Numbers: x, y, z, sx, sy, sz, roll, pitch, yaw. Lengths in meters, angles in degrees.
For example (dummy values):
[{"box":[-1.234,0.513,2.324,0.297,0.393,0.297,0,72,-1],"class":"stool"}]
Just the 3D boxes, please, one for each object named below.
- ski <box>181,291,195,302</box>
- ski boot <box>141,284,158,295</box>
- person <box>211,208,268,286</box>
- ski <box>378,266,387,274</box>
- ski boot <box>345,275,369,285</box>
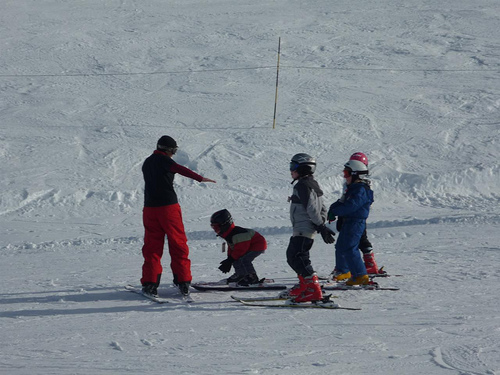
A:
[{"box":[-1.233,2.186,13.968,0.132,0.042,0.321,-4,19,-16],"class":"ski"},{"box":[-2.009,2.041,14.018,0.291,0.208,0.213,-7,35,-8],"class":"ski boot"},{"box":[-0.193,1.268,14.658,1.081,1.575,1.118,-5,38,-3],"class":"person"},{"box":[2.941,1.822,15.386,0.115,0.058,0.168,26,5,4],"class":"ski"},{"box":[2.250,1.935,14.576,0.469,0.260,0.165,1,39,4],"class":"ski boot"}]
